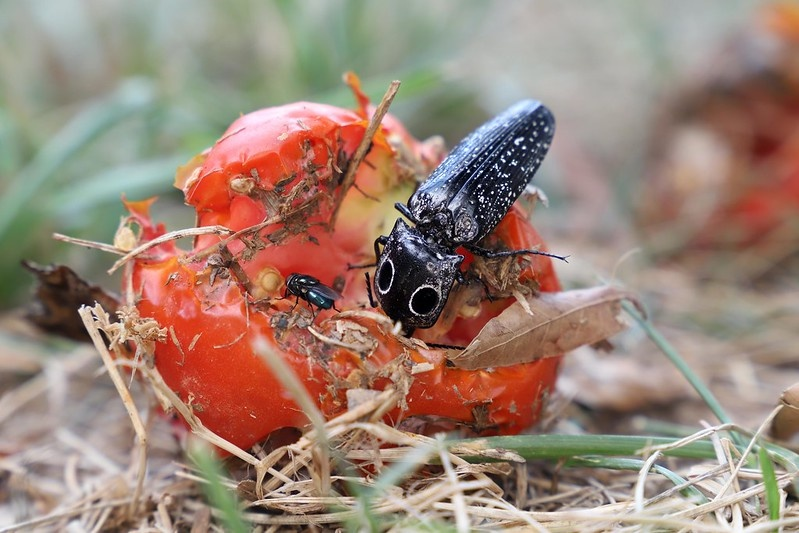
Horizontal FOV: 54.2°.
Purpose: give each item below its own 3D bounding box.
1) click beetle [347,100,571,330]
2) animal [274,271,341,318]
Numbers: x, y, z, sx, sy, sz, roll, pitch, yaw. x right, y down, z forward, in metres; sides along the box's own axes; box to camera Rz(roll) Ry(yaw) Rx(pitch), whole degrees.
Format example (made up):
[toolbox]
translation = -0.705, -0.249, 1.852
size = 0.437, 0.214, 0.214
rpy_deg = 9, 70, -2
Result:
[click beetle]
translation = 0.195, -0.152, 2.629
size = 0.310, 0.820, 0.840
rpy_deg = 40, 22, -6
[animal]
translation = -0.289, 0.077, 2.446
size = 0.214, 0.077, 0.140
rpy_deg = 16, 12, -1
